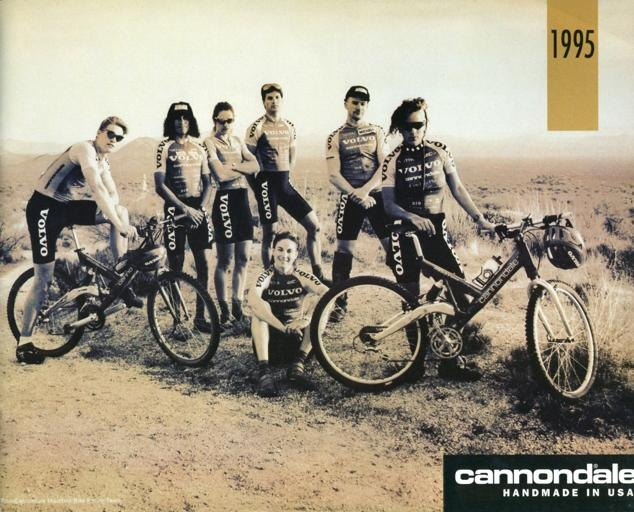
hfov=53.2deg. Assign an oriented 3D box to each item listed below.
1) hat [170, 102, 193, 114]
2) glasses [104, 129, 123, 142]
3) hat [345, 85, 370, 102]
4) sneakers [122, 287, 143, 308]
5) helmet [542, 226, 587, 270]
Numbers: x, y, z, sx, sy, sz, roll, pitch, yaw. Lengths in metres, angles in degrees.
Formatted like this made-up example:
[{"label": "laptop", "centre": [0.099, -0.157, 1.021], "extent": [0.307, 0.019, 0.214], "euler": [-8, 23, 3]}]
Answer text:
[{"label": "hat", "centre": [-1.780, -1.936, 8.240], "extent": [0.246, 0.121, 0.290], "euler": [-10, 16, -40]}, {"label": "glasses", "centre": [-2.463, -1.466, 7.766], "extent": [0.231, 0.145, 0.137], "euler": [4, 12, 14]}, {"label": "hat", "centre": [0.521, -2.111, 8.255], "extent": [0.297, 0.197, 0.190], "euler": [0, 11, -3]}, {"label": "sneakers", "centre": [-2.274, 0.516, 7.889], "extent": [0.224, 0.236, 0.082], "euler": [38, 36, 15]}, {"label": "helmet", "centre": [2.797, -0.092, 7.259], "extent": [0.361, 0.414, 0.512], "euler": [-27, -51, 33]}]
